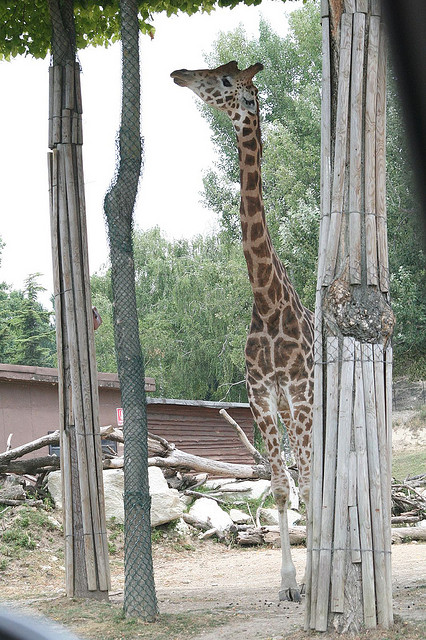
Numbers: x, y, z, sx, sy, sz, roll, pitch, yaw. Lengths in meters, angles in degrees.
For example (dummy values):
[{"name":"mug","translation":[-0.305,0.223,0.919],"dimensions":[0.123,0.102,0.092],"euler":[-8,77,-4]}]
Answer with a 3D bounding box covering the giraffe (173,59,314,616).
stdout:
[{"name":"giraffe","translation":[0.468,0.008,11.780],"dimensions":[0.969,3.637,0.670],"euler":[-3,-2,-14]}]
